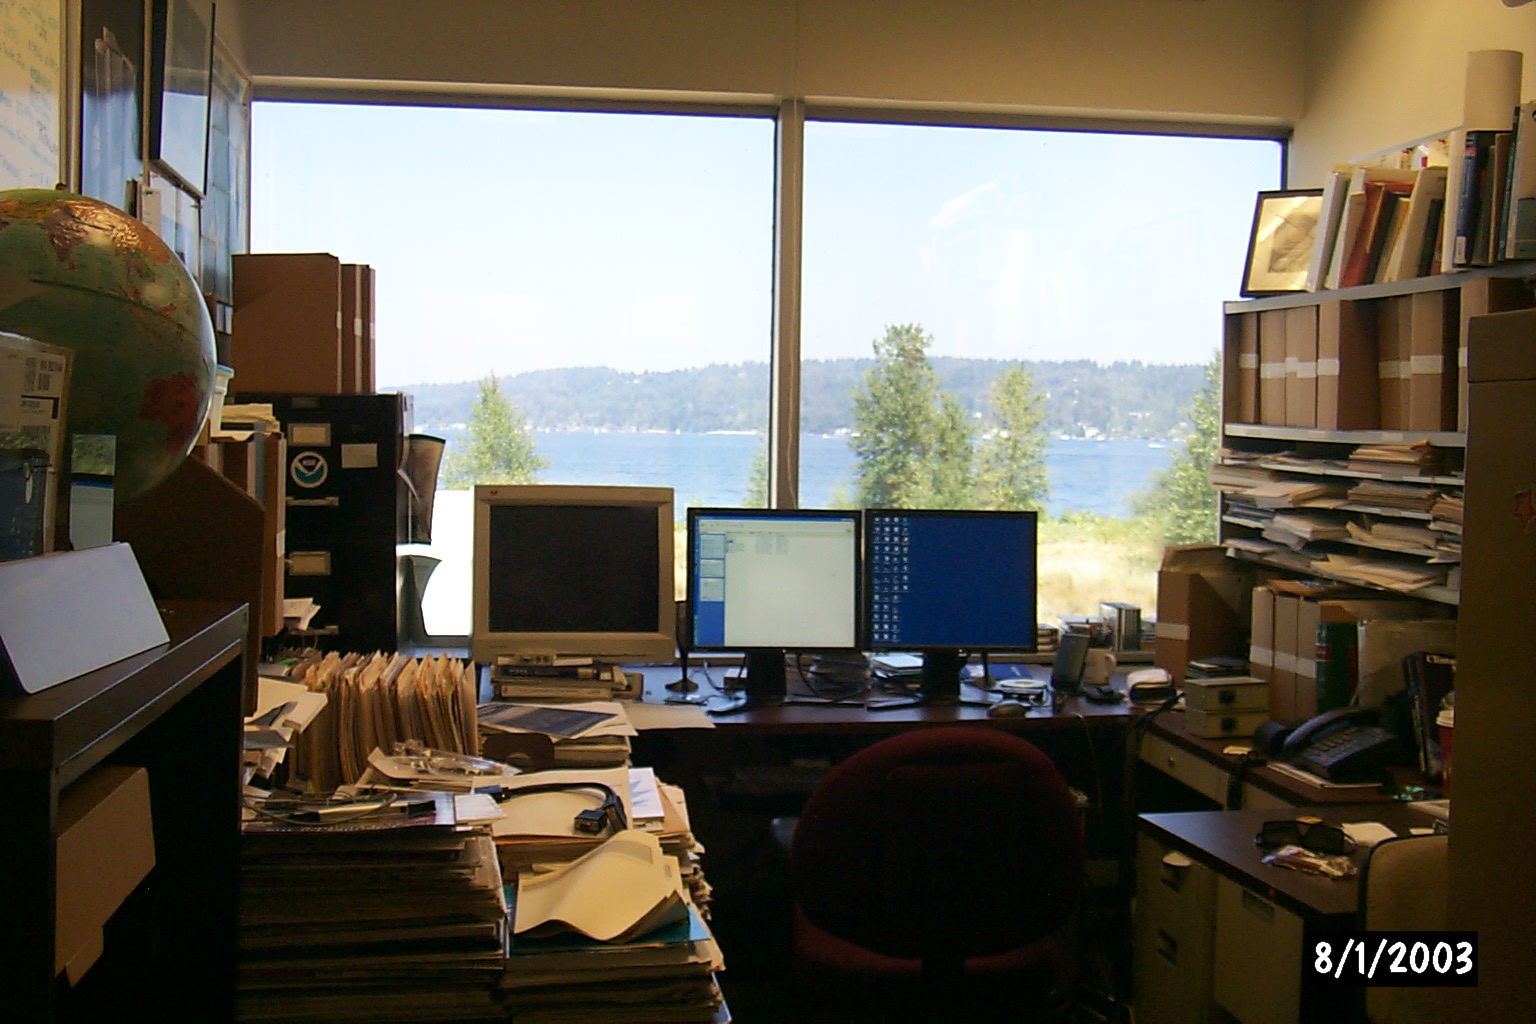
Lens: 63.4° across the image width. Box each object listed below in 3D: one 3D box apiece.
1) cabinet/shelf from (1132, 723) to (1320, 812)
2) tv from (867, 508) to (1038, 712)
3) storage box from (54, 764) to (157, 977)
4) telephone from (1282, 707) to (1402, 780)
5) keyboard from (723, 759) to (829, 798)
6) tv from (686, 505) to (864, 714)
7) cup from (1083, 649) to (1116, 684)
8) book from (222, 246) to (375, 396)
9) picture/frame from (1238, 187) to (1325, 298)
[{"bbox_3d":[1.209,0.656,3.254,0.233,0.079,0.338,-2,8,-16],"label":"cabinet/shelf"},{"bbox_3d":[0.524,0.263,3.574,0.529,0.601,0.194,1,-5,-2],"label":"tv"},{"bbox_3d":[-0.756,0.395,1.369,0.074,0.190,0.166,1,4,8],"label":"storage box"},{"bbox_3d":[1.415,0.570,3.066,0.181,0.065,0.184,-12,7,39],"label":"telephone"},{"bbox_3d":[0.026,0.695,3.243,0.208,0.051,0.209,-2,-3,3],"label":"keyboard"},{"bbox_3d":[0.017,0.260,3.520,0.539,0.612,0.198,1,-3,-5],"label":"tv"},{"bbox_3d":[0.980,0.463,3.713,0.109,0.105,0.079,4,-2,-14],"label":"cup"},{"bbox_3d":[-1.264,-0.490,3.613,0.476,0.484,0.355,0,-1,3],"label":"book"},{"bbox_3d":[1.578,-0.825,3.805,0.239,0.294,0.023,-3,20,-10],"label":"picture/frame"}]
